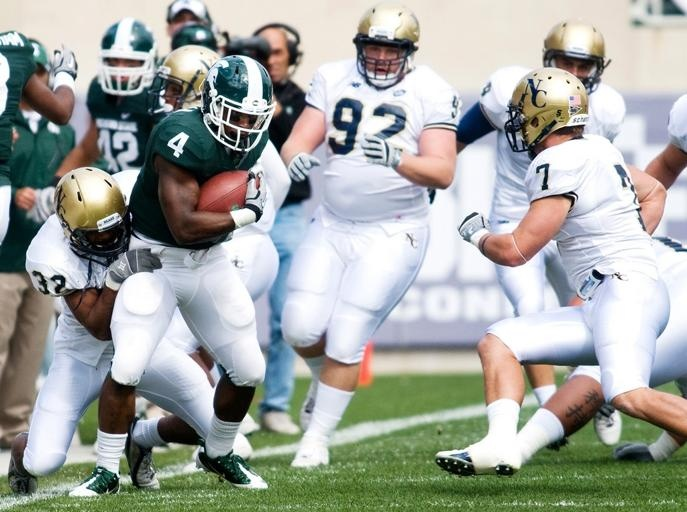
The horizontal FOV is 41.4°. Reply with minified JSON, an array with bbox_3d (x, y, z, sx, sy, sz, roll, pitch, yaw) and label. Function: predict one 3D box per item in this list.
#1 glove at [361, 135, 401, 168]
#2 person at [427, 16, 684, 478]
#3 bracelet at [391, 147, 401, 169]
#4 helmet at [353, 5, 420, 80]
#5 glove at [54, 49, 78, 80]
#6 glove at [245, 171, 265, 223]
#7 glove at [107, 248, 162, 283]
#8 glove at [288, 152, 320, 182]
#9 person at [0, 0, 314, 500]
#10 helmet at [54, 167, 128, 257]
[{"bbox_3d":[0.177,-0.488,4.216,0.173,0.115,0.084,18,27,17],"label":"glove"},{"bbox_3d":[1.012,0.064,3.832,1.058,1.538,1.129,9,17,0],"label":"person"},{"bbox_3d":[0.243,-0.456,4.200,0.059,0.081,0.068,13,26,13],"label":"bracelet"},{"bbox_3d":[0.240,-1.089,4.629,0.303,0.388,0.381,6,24,11],"label":"helmet"},{"bbox_3d":[-1.401,-0.973,4.592,0.117,0.164,0.073,5,-22,4],"label":"glove"},{"bbox_3d":[-0.347,-0.244,3.736,0.070,0.188,0.105,9,-15,-13],"label":"glove"},{"bbox_3d":[-0.861,0.040,3.743,0.188,0.091,0.122,-21,66,-6],"label":"glove"},{"bbox_3d":[-0.197,-0.423,4.439,0.118,0.154,0.067,48,3,19],"label":"glove"},{"bbox_3d":[-0.617,0.093,3.707,0.738,1.768,0.544,4,18,-16],"label":"person"},{"bbox_3d":[-1.066,-0.186,3.795,0.356,0.299,0.256,33,42,28],"label":"helmet"}]
